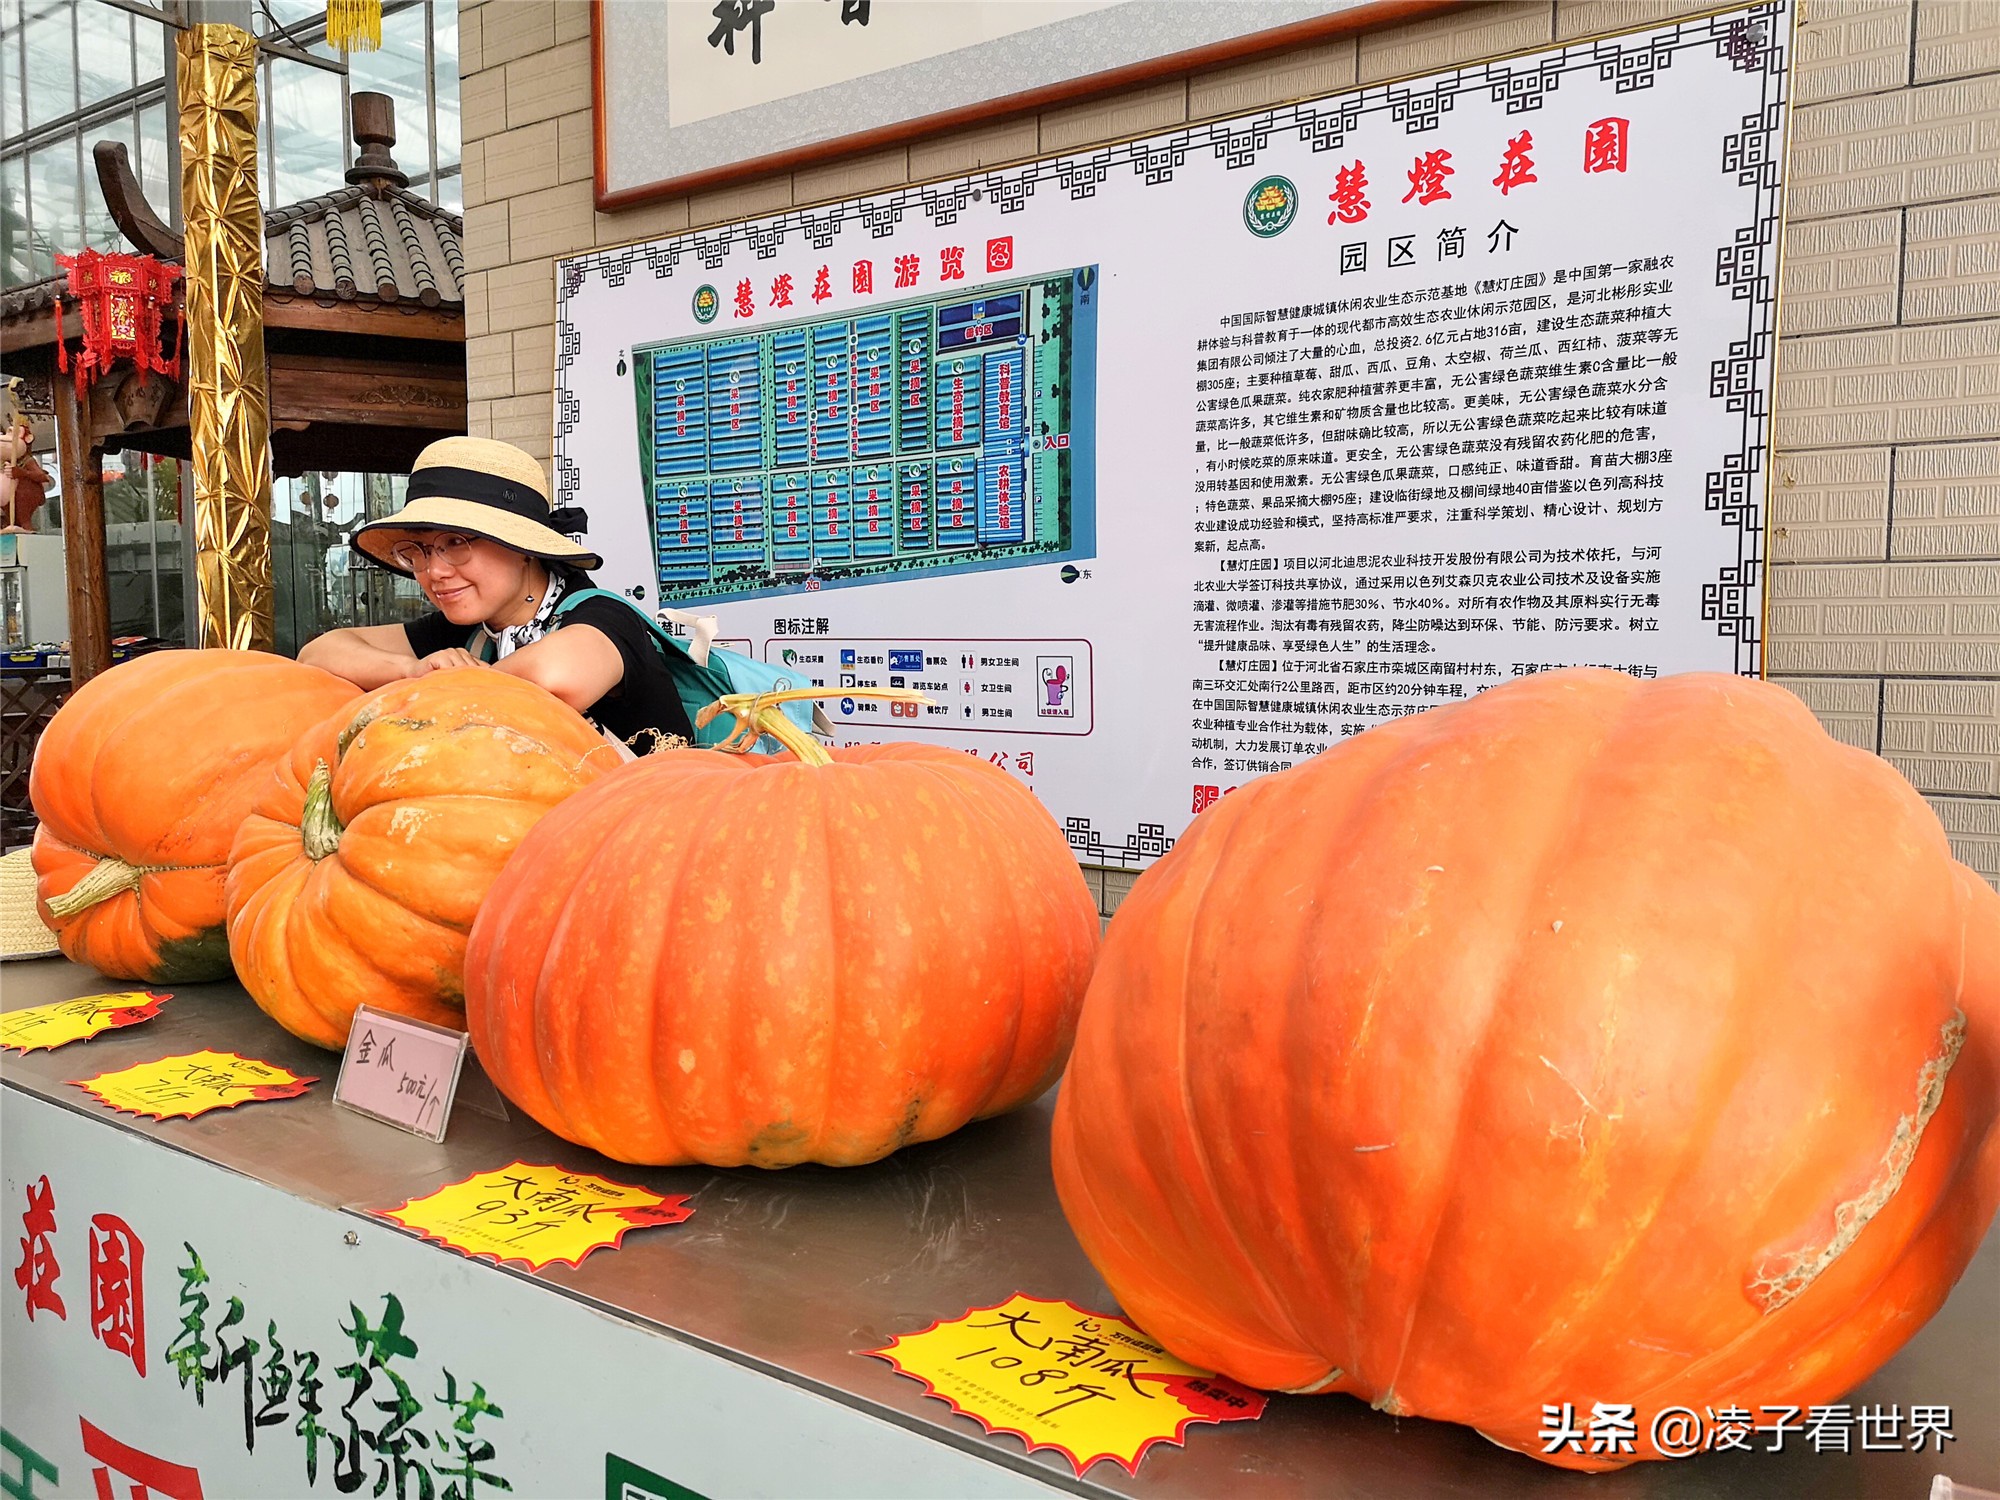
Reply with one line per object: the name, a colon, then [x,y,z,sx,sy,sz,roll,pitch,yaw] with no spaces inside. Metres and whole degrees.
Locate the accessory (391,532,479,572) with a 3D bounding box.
accessory: [-0.884,-0.316,2.526,0.078,0.090,0.028,3,29,24]

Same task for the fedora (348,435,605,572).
fedora: [-0.833,-0.367,2.507,0.286,0.172,0.279,3,-4,-18]

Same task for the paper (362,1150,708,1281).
paper: [-0.386,0.386,1.327,0.219,0.007,0.163,8,15,25]

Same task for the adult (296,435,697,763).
adult: [-0.825,-0.071,2.593,0.582,0.858,0.472,0,3,-26]

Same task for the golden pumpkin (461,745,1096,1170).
golden pumpkin: [-0.203,0.185,1.603,0.595,0.470,0.594,-2,1,-39]
